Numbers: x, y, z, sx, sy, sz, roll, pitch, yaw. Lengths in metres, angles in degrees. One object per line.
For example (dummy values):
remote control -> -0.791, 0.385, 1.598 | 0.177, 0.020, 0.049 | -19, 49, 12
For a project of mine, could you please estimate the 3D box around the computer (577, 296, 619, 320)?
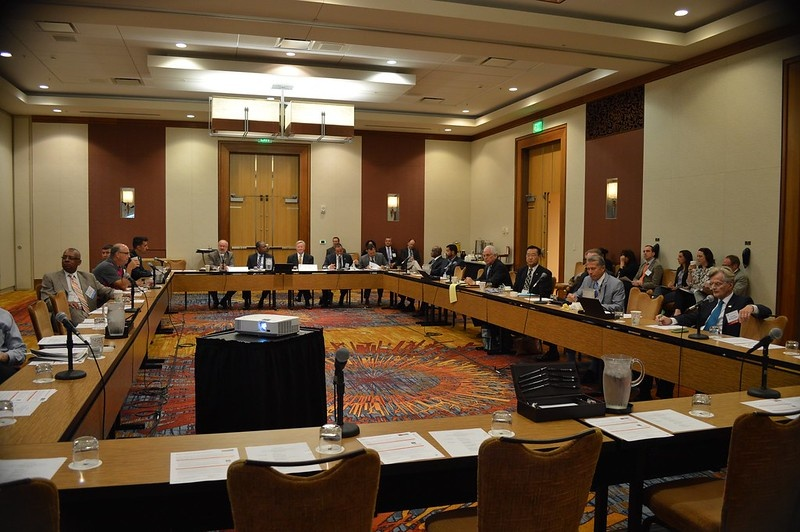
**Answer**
computer -> 2.203, 0.437, 5.962 | 0.260, 0.161, 0.259 | -1, 2, -30

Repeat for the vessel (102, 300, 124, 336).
vessel -> -2.547, 0.461, 4.862 | 0.144, 0.305, 0.232 | -3, 8, -31

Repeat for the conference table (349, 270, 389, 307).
conference table -> -0.768, 0.281, 11.541 | 0.910, 0.757, 0.899 | -5, 23, -18

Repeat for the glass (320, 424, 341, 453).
glass -> -0.367, 0.916, 2.877 | 0.112, 0.105, 0.113 | 1, -3, -6

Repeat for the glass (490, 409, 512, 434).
glass -> 0.572, 0.867, 3.041 | 0.109, 0.105, 0.106 | 1, -5, -34

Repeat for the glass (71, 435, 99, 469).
glass -> -1.586, 0.928, 2.758 | 0.142, 0.107, 0.141 | 2, -2, -18

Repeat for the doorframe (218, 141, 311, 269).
doorframe -> -3.534, -1.668, 14.320 | 2.362, 3.284, 0.139 | -3, 27, -22

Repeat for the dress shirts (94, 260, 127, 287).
dress shirts -> -4.164, 0.104, 7.814 | 0.369, 0.365, 0.308 | 1, 8, -10

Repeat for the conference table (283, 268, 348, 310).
conference table -> -1.792, 0.635, 11.062 | 1.285, 0.908, 0.693 | 1, -1, -21

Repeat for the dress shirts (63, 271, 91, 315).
dress shirts -> -3.975, 0.307, 6.708 | 0.160, 0.547, 0.300 | -11, -3, 26

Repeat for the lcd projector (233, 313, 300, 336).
lcd projector -> -0.902, 0.392, 3.656 | 0.426, 0.119, 0.207 | 0, 6, -5

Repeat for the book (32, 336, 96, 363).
book -> -2.648, 0.647, 4.222 | 0.286, 0.069, 0.289 | 0, 2, -7

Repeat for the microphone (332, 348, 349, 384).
microphone -> -0.315, 0.526, 2.931 | 0.072, 0.255, 0.081 | 11, 43, -3

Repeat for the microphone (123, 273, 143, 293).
microphone -> -3.929, 0.247, 7.974 | 0.109, 0.117, 0.664 | -16, -9, -15
